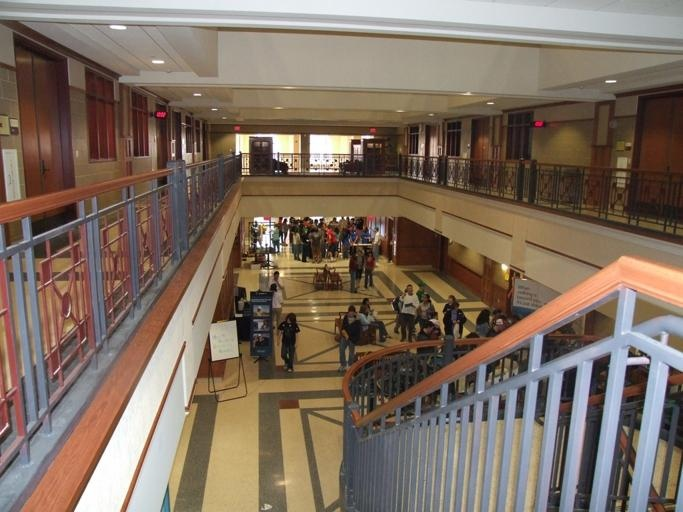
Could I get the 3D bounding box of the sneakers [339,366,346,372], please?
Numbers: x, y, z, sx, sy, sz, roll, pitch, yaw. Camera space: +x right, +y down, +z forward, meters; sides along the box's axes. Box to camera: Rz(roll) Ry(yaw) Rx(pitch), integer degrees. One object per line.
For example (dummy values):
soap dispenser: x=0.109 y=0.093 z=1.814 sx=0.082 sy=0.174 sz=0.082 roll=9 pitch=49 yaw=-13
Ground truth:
sneakers: x=0.031 y=2.811 z=12.151 sx=0.094 sy=0.081 sz=0.252 roll=-13 pitch=-21 yaw=-12

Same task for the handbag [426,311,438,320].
handbag: x=2.454 y=1.621 z=13.133 sx=0.224 sy=0.254 sz=0.252 roll=-1 pitch=12 yaw=-4

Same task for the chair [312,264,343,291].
chair: x=-0.577 y=0.936 z=19.874 sx=0.985 sy=1.088 sz=0.999 roll=0 pitch=5 yaw=-10

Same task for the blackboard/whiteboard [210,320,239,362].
blackboard/whiteboard: x=-2.329 y=1.670 z=9.642 sx=0.549 sy=0.825 sz=0.419 roll=0 pitch=10 yaw=-13

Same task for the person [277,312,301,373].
person: x=-1.344 y=2.104 z=12.352 sx=0.445 sy=1.501 sz=1.113 roll=0 pitch=10 yaw=-8

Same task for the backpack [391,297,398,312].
backpack: x=1.618 y=1.435 z=14.561 sx=0.325 sy=0.502 sz=0.182 roll=4 pitch=-5 yaw=-13
